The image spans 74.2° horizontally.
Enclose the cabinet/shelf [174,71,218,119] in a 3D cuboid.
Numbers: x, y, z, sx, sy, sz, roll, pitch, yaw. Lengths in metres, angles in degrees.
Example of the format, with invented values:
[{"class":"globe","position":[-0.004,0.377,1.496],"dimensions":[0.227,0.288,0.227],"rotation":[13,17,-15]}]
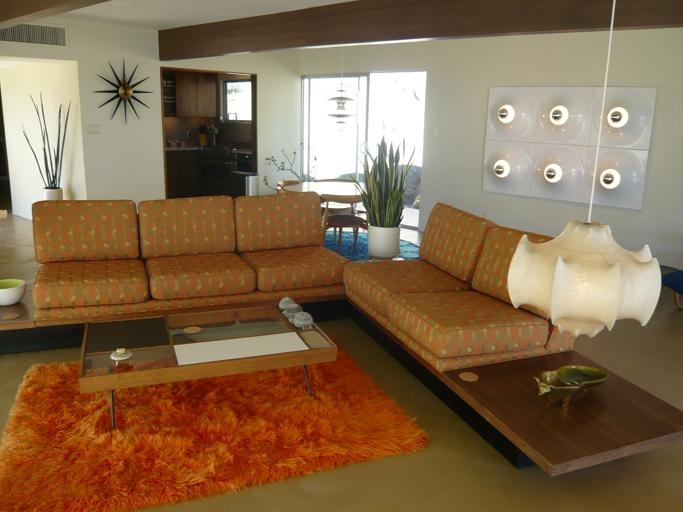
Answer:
[{"class":"cabinet/shelf","position":[-3.002,-3.414,9.740],"dimensions":[1.075,0.948,0.362],"rotation":[7,7,19]}]

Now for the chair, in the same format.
[{"class":"chair","position":[-0.241,-0.403,6.302],"dimensions":[1.196,0.888,1.210],"rotation":[-6,19,-21]}]

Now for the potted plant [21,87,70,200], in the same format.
[{"class":"potted plant","position":[-4.689,-1.763,7.208],"dimensions":[0.512,1.549,1.421],"rotation":[-16,24,-40]}]
